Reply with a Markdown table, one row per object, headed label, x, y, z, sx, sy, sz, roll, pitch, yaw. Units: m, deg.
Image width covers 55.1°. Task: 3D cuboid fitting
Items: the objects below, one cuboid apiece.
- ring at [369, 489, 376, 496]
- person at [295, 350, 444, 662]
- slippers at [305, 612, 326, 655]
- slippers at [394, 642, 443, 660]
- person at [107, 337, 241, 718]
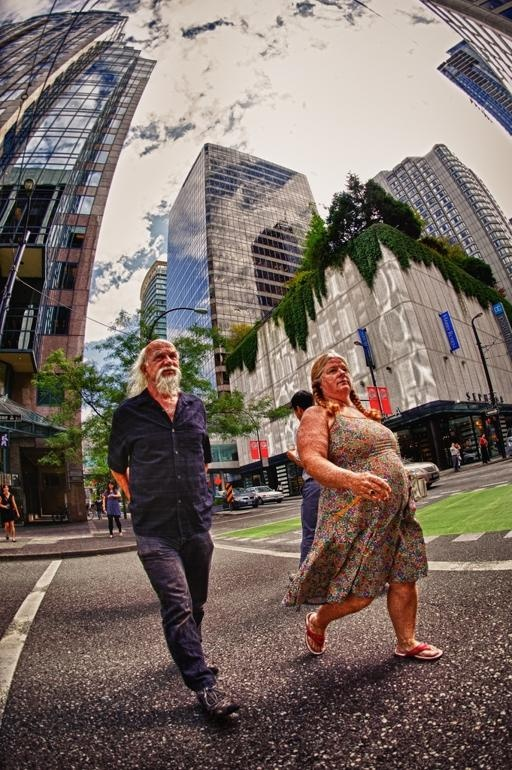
| label | x | y | z | sx | sy | sz | roll | pitch | yaw |
| --- | --- | --- | --- | --- | --- | --- | --- | --- | --- |
| ring | 0.496 | 0.466 | 2.114 | 0.018 | 0.030 | 0.036 | -14 | -10 | 30 |
| person | 0.417 | 0.560 | 2.442 | 0.676 | 1.580 | 0.697 | -11 | -10 | 14 |
| slippers | 0.291 | 1.272 | 2.534 | 0.081 | 0.204 | 0.114 | -12 | -1 | 37 |
| slippers | 0.729 | 1.204 | 2.230 | 0.144 | 0.047 | 0.091 | -7 | -24 | 12 |
| person | -0.493 | 0.553 | 2.494 | 0.571 | 1.783 | 1.029 | -8 | -9 | -7 |
